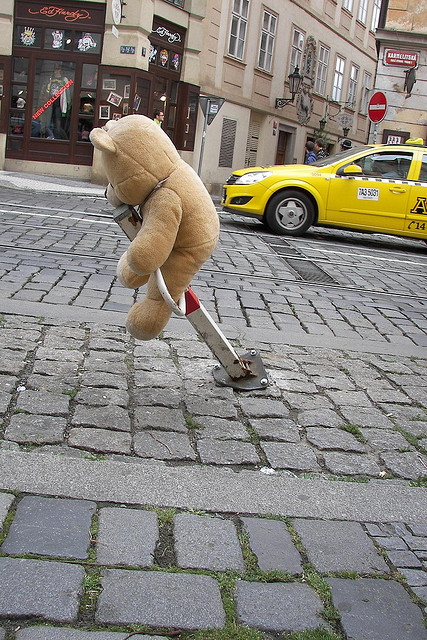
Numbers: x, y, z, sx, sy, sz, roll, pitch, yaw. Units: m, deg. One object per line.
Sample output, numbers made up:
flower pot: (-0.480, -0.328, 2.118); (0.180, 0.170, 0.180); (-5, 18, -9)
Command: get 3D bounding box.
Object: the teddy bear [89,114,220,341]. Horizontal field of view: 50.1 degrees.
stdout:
teddy bear: (-0.333, -0.407, 2.194); (0.442, 1.114, 0.707); (12, 7, 31)
